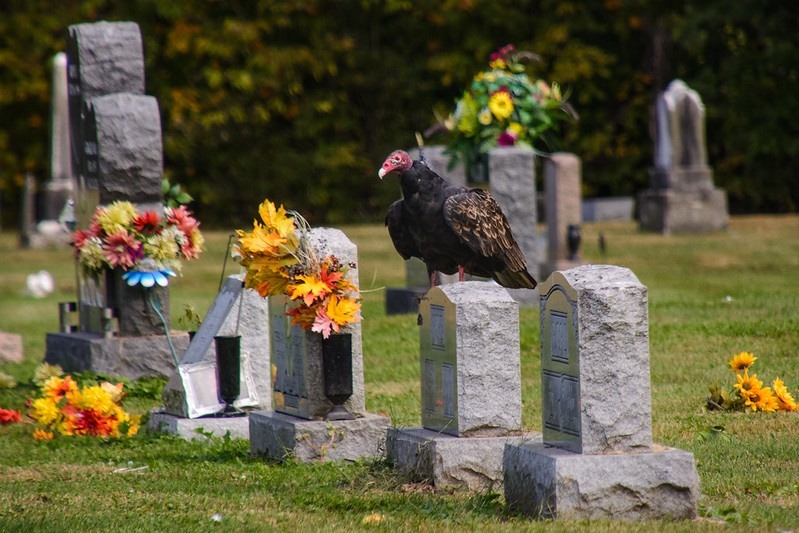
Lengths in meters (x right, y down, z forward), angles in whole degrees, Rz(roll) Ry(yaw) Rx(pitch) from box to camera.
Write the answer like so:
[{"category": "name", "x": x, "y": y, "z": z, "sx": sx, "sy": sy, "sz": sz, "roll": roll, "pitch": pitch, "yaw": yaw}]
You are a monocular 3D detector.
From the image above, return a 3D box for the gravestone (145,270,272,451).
[{"category": "gravestone", "x": -2.526, "y": 1.300, "z": 27.692, "sx": 1.175, "sy": 2.530, "sz": 1.237, "roll": 0, "pitch": 2, "yaw": -36}]

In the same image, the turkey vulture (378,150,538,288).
[{"category": "turkey vulture", "x": 0.776, "y": -0.621, "z": 27.606, "sx": 1.958, "sy": 1.863, "sz": 0.695, "roll": -5, "pitch": 3, "yaw": -34}]
